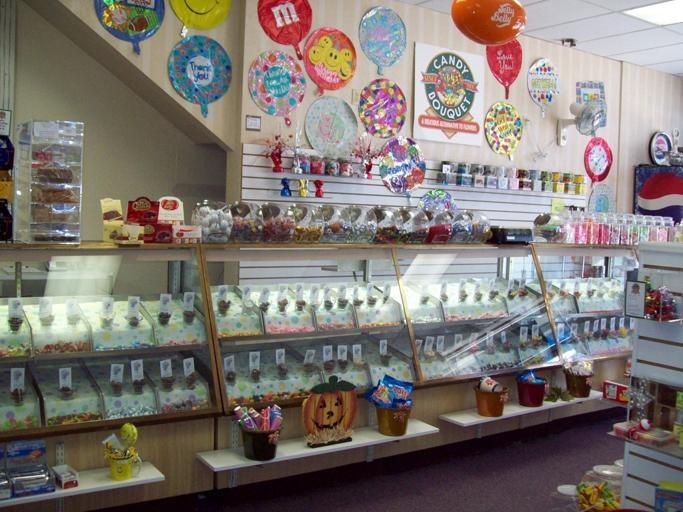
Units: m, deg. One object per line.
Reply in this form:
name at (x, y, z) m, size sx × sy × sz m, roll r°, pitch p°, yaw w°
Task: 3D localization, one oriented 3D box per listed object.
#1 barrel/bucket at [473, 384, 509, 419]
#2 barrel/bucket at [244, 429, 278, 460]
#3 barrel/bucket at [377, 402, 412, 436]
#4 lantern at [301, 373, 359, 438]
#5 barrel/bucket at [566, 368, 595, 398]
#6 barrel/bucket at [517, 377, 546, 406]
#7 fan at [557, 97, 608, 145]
barrel/bucket at (1.180, 1.143, 4.223) m, size 0.208 × 0.166 × 0.216 m, roll -1°, pitch -3°, yaw 0°
barrel/bucket at (-0.516, 1.180, 3.414) m, size 0.188 × 0.139 × 0.194 m, roll 0°, pitch 1°, yaw 0°
barrel/bucket at (0.369, 1.161, 3.778) m, size 0.214 × 0.155 × 0.206 m, roll 2°, pitch 2°, yaw 0°
lantern at (-0.070, 1.040, 3.690) m, size 0.402 × 0.434 × 0.243 m, roll 3°, pitch 9°, yaw -11°
barrel/bucket at (2.114, 1.154, 4.752) m, size 0.230 × 0.189 × 0.240 m, roll 2°, pitch 0°, yaw 0°
barrel/bucket at (1.570, 1.129, 4.492) m, size 0.211 × 0.170 × 0.208 m, roll 1°, pitch -2°, yaw 0°
fan at (3.348, -1.855, 7.463) m, size 0.553 × 0.599 × 0.296 m, roll -3°, pitch 5°, yaw -27°
